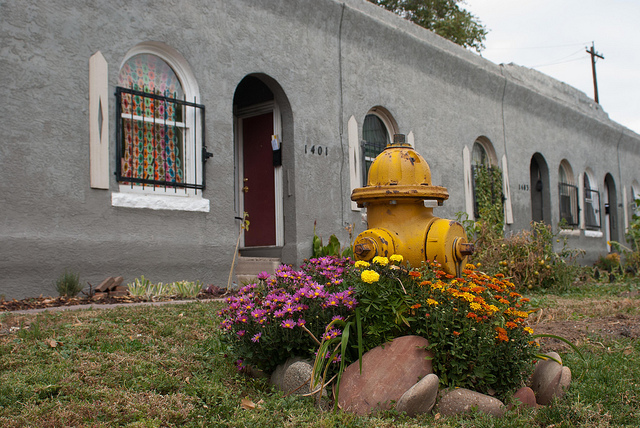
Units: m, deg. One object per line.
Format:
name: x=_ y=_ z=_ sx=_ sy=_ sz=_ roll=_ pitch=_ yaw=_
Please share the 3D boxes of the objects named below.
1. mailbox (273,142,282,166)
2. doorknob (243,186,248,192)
mailbox: x=-0.811 y=-1.134 z=9.212 sx=0.162 sy=0.443 sz=0.113 roll=3 pitch=6 yaw=0
doorknob: x=-1.528 y=-0.510 z=9.882 sx=0.104 sy=0.104 sz=0.028 roll=5 pitch=6 yaw=16
